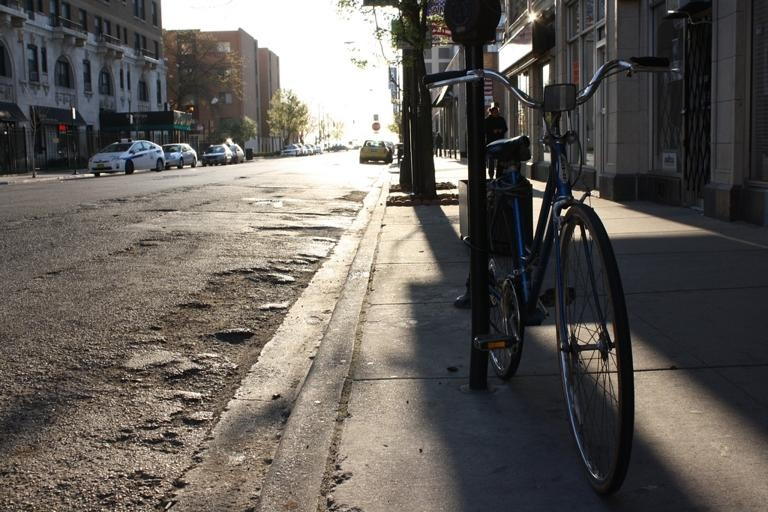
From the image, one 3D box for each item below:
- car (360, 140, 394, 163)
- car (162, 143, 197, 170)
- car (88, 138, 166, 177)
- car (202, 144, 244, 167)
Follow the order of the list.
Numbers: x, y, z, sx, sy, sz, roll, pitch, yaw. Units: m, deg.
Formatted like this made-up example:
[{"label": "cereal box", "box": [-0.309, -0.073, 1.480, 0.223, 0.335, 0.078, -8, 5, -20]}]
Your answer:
[{"label": "car", "box": [-0.446, -6.969, 47.670, 1.172, 1.071, 3.002, 0, 16, 5]}, {"label": "car", "box": [-12.827, -6.306, 44.239, 1.175, 1.046, 2.873, 0, 6, 6]}, {"label": "car", "box": [-13.531, -5.149, 37.387, 1.678, 1.738, 4.524, 1, 14, 13]}, {"label": "car", "box": [-12.184, -7.659, 53.933, 1.299, 1.772, 6.934, -1, 14, 5]}]
